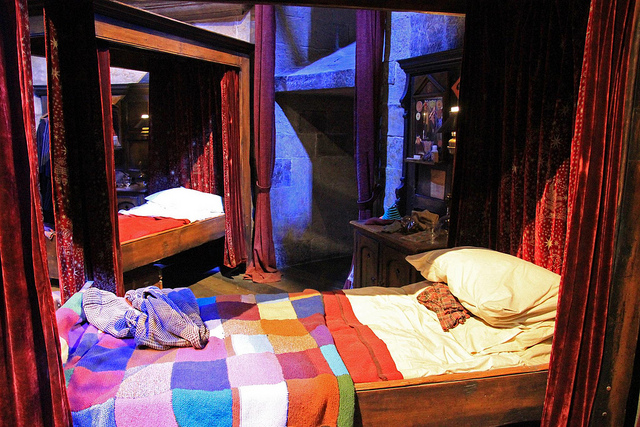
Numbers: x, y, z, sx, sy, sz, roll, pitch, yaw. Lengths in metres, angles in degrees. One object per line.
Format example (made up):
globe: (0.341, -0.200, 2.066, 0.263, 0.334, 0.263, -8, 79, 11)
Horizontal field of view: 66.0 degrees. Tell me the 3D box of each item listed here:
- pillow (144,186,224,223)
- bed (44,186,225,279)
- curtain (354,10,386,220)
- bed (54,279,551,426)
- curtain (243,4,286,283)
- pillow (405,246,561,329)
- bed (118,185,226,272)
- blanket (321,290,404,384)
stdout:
pillow: (-1.503, -0.114, 5.534, 0.512, 0.146, 0.554, 24, 15, 20)
bed: (-1.616, 0.107, 5.132, 0.767, 0.602, 1.342, 6, 15, 31)
curtain: (0.470, -0.965, 4.992, 0.240, 2.061, 0.234, 1, 14, 4)
bed: (-0.102, 0.813, 2.649, 2.073, 0.553, 1.188, -1, 11, -4)
curtain: (-0.690, -0.746, 5.477, 0.425, 3.029, 0.492, -2, 14, -6)
pillow: (1.068, 0.397, 3.151, 0.516, 0.252, 0.843, -20, 25, -18)
bed: (-1.555, 0.127, 5.132, 0.691, 0.309, 1.147, 8, 15, 26)
blanket: (0.197, 0.692, 2.959, 0.222, 0.053, 0.751, 2, 20, -20)
